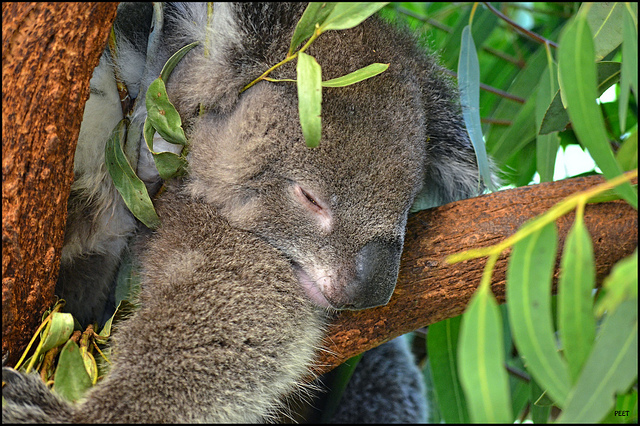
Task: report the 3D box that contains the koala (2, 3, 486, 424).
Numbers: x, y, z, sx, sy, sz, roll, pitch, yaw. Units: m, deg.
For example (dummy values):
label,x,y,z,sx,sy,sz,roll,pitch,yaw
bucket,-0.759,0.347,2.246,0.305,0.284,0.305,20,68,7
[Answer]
label,x,y,z,sx,sy,sz,roll,pitch,yaw
koala,-0.150,0.098,2.383,1.376,1.070,1.440,11,70,-2
